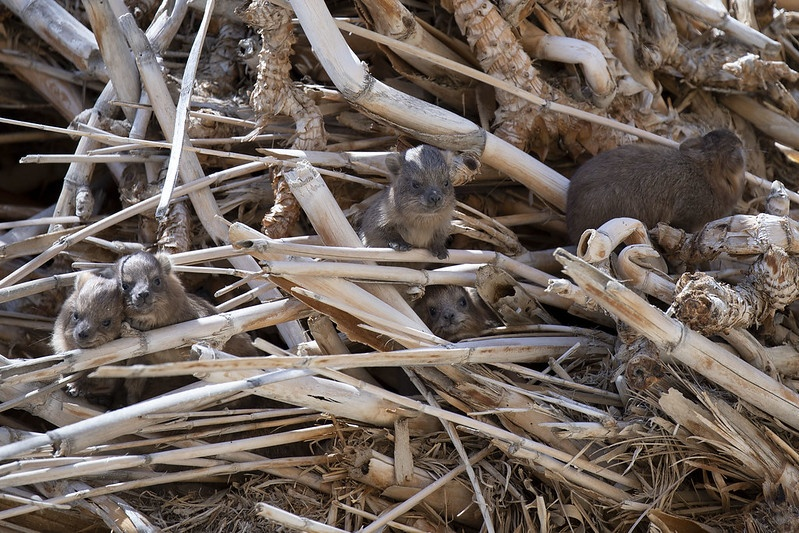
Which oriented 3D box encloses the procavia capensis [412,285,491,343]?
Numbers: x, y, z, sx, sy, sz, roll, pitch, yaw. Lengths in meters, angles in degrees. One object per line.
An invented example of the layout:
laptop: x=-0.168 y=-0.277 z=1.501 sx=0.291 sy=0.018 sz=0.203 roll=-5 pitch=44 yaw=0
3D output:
procavia capensis: x=0.482 y=0.414 z=9.857 sx=0.529 sy=0.334 sz=0.617 roll=-16 pitch=4 yaw=4
